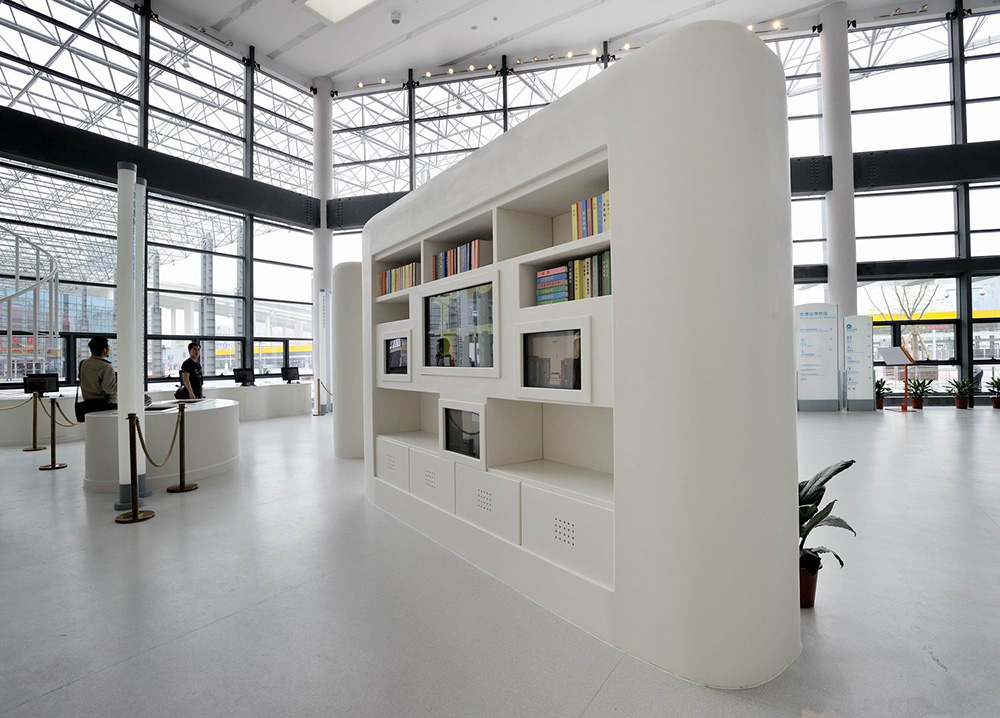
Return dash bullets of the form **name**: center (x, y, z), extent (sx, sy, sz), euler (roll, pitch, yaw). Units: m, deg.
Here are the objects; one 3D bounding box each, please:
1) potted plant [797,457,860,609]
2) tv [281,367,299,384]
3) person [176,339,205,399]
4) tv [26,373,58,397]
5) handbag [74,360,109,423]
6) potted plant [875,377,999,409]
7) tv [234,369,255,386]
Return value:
- **potted plant**: center (3.301, 1.610, 6.952), extent (0.487, 1.366, 1.857), euler (-1, 1, 27)
- **tv**: center (-4.709, 0.337, 15.535), extent (0.366, 0.273, 0.342), euler (-2, 1, -25)
- **person**: center (-5.336, 0.152, 11.813), extent (0.405, 0.854, 1.192), euler (-2, 1, -26)
- **tv**: center (-7.315, 0.359, 11.092), extent (0.279, 0.509, 0.557), euler (2, 2, 36)
- **handbag**: center (-5.556, 0.396, 9.399), extent (0.683, 0.802, 0.333), euler (-1, 1, 29)
- **potted plant**: center (9.556, 0.718, 15.238), extent (2.404, 0.627, 0.978), euler (-1, 1, 21)
- **tv**: center (-5.400, 0.387, 14.689), extent (0.286, 0.485, 0.460), euler (-7, -8, 40)
